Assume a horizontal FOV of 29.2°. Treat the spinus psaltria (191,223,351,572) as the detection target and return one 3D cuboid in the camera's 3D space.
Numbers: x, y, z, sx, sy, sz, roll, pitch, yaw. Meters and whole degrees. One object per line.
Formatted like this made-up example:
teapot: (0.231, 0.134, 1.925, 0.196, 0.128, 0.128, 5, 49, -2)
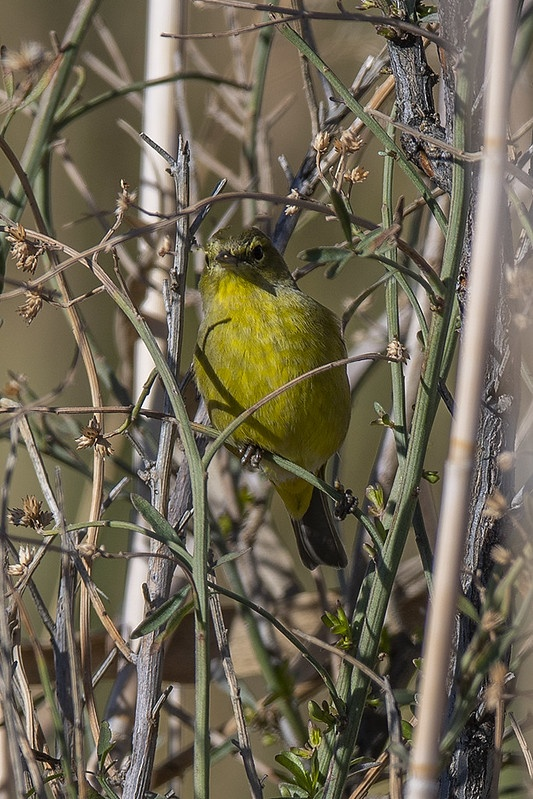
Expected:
spinus psaltria: (0.012, -0.075, 2.313, 0.296, 0.400, 0.900, -13, -75, 2)
